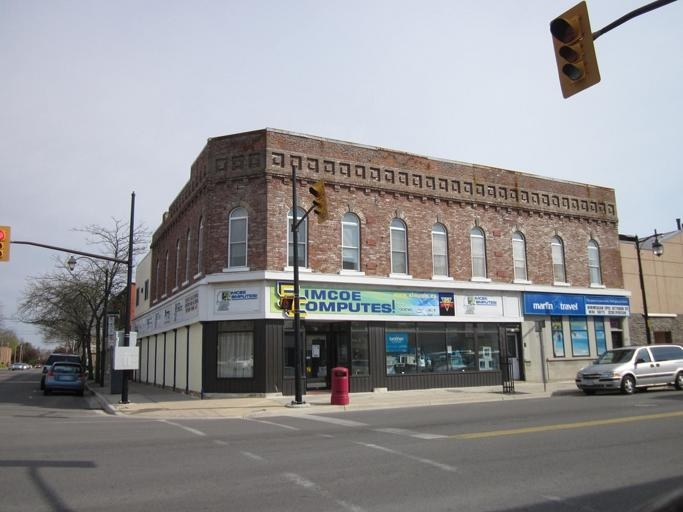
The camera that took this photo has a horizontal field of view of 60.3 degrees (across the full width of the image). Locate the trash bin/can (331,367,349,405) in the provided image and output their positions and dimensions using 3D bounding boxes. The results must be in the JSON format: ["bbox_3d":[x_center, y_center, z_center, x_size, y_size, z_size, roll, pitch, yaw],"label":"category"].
[{"bbox_3d":[-0.054,4.570,20.872,0.608,1.263,0.583,-1,-6,-3],"label":"trash bin/can"}]

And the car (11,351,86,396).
[{"bbox_3d":[-13.622,5.611,28.942,2.037,1.874,3.528,4,-5,-20],"label":"car"}]
